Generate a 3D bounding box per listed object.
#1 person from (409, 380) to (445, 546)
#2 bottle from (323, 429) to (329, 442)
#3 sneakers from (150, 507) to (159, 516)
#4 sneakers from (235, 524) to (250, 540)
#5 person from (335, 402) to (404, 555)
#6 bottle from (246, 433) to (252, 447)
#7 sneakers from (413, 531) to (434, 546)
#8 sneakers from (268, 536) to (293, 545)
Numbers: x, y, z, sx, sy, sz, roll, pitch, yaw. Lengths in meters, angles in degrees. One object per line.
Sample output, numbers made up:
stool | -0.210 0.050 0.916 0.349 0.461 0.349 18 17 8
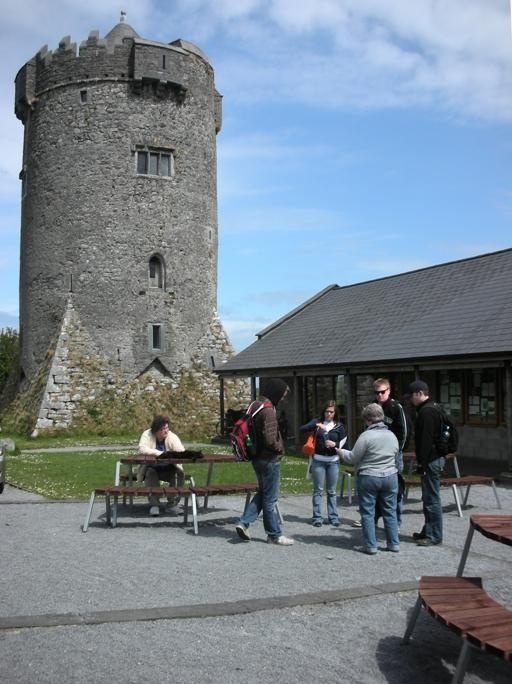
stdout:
person | 1.803 1.300 6.048 0.363 1.738 0.427 0 -2 18
bottle | 0.863 1.167 7.021 0.061 0.126 0.178 0 -2 5
sneakers | -1.366 2.267 7.549 0.066 0.074 0.178 2 3 -1
sneakers | -0.144 2.037 6.090 0.098 0.106 0.248 -2 -46 29
person | 1.204 1.396 5.786 0.560 1.484 0.504 2 -2 -32
bottle | -0.078 1.039 5.915 0.057 0.122 0.031 0 -2 1
sneakers | 1.747 2.096 5.973 0.089 0.084 0.195 1 1 -37
sneakers | 0.260 2.098 5.970 0.208 0.087 0.099 0 -5 15
